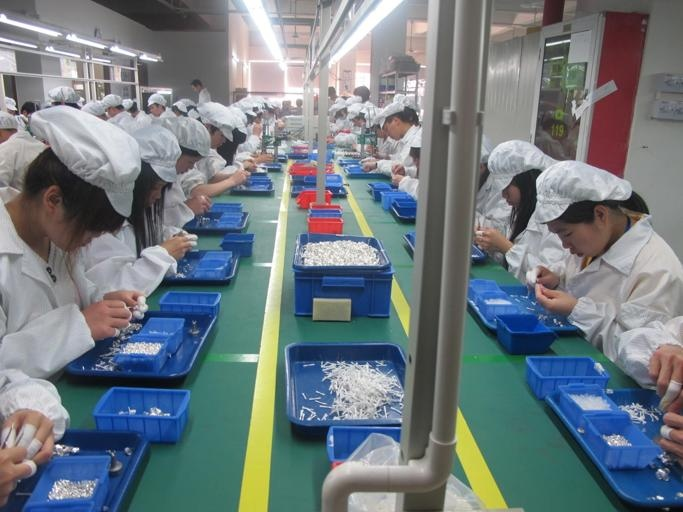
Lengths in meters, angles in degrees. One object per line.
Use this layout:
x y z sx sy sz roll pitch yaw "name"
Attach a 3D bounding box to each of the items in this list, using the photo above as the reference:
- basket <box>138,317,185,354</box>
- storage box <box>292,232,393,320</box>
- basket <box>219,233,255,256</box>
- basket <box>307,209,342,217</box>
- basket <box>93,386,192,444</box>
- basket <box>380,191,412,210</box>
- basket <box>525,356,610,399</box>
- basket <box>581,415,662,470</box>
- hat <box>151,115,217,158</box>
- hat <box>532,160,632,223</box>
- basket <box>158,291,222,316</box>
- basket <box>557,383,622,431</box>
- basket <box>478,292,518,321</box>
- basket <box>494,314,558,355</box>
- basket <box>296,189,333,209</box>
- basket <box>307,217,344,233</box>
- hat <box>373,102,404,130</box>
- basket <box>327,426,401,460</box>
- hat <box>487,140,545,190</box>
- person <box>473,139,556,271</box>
-0.696 0.291 1.900 0.114 0.071 0.157 4 16 -5 "basket"
0.004 0.071 2.408 0.331 0.185 0.485 1 15 0 "storage box"
-0.625 -0.078 2.877 0.158 0.087 0.127 -1 25 -4 "basket"
-0.116 -0.307 3.464 0.150 0.044 0.097 -2 16 -5 "basket"
-0.632 0.493 1.517 0.229 0.094 0.168 3 20 -4 "basket"
0.468 -0.484 4.129 0.224 0.098 0.152 1 14 -7 "basket"
0.806 0.418 1.736 0.218 0.090 0.161 0 17 0 "basket"
0.831 0.560 1.446 0.126 0.078 0.174 1 17 3 "basket"
-0.999 -0.788 3.058 0.307 0.166 0.266 30 17 -12 "hat"
1.046 -0.302 2.096 0.296 0.187 0.317 -5 6 9 "hat"
-0.671 0.211 2.144 0.184 0.062 0.132 2 20 -4 "basket"
0.804 0.481 1.598 0.111 0.057 0.150 0 16 5 "basket"
0.715 0.226 2.245 0.098 0.060 0.157 1 10 5 "basket"
0.747 0.323 1.968 0.139 0.084 0.203 2 17 1 "basket"
-0.240 -0.470 4.006 0.225 0.101 0.185 0 19 -3 "basket"
-0.107 -0.206 3.172 0.175 0.066 0.120 2 17 -4 "basket"
0.529 -1.574 5.351 0.254 0.107 0.204 -30 24 10 "hat"
0.060 0.533 1.438 0.177 0.066 0.121 0 8 -2 "basket"
0.991 -0.562 2.808 0.301 0.179 0.240 -29 18 -1 "hat"
0.980 -0.254 2.725 0.459 0.808 0.523 -7 27 4 "person"
